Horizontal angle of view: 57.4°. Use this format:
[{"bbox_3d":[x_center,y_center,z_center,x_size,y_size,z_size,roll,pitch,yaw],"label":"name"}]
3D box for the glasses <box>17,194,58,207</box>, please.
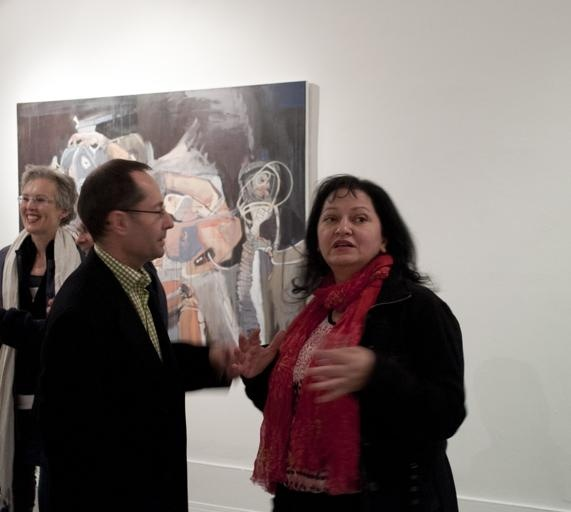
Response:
[{"bbox_3d":[-1.372,-0.307,2.943,0.095,0.033,0.102,-1,-8,7],"label":"glasses"}]
